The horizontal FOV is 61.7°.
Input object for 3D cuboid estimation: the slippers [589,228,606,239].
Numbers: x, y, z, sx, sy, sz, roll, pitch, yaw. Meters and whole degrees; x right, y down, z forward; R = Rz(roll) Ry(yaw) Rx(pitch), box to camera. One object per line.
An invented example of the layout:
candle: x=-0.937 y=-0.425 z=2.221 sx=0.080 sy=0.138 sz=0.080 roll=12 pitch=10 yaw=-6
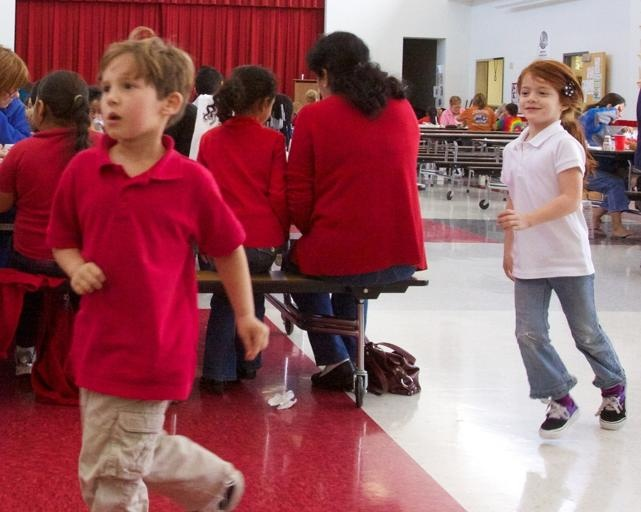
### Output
slippers: x=3.498 y=-0.271 z=6.726 sx=0.197 sy=0.050 sz=0.181 roll=3 pitch=17 yaw=1

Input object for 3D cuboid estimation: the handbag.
handbag: x=0.342 y=0.539 z=2.641 sx=0.192 sy=0.144 sz=0.292 roll=-6 pitch=13 yaw=-32

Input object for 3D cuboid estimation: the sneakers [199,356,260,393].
sneakers: x=-0.437 y=0.578 z=2.646 sx=0.316 sy=0.130 sz=0.105 roll=-2 pitch=4 yaw=-34

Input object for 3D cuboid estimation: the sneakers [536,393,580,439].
sneakers: x=0.973 y=0.626 z=2.194 sx=0.089 sy=0.108 sz=0.256 roll=-3 pitch=17 yaw=40

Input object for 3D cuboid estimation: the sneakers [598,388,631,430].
sneakers: x=1.220 y=0.638 z=2.220 sx=0.076 sy=0.079 sz=0.206 roll=-5 pitch=4 yaw=19

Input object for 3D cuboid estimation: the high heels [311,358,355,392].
high heels: x=0.059 y=0.580 z=2.633 sx=0.097 sy=0.109 sz=0.260 roll=-5 pitch=5 yaw=-38
